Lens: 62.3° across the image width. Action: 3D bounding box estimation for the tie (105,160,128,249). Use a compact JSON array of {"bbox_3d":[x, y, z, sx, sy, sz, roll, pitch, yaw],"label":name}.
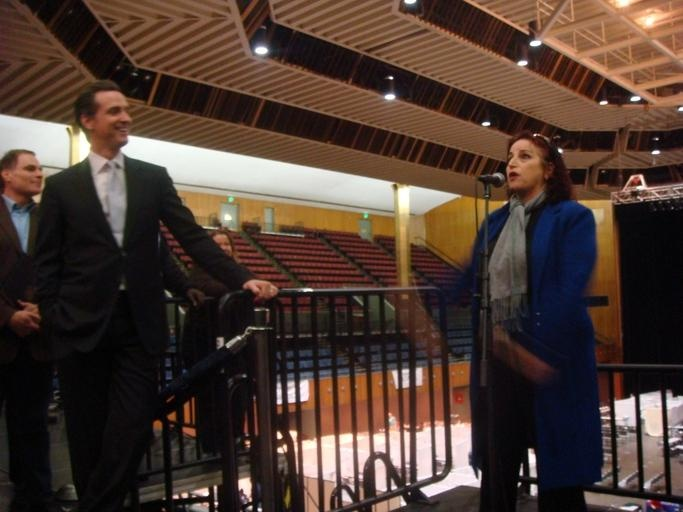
[{"bbox_3d":[-0.892,-0.202,2.183,0.079,0.334,0.037,22,18,38],"label":"tie"}]
